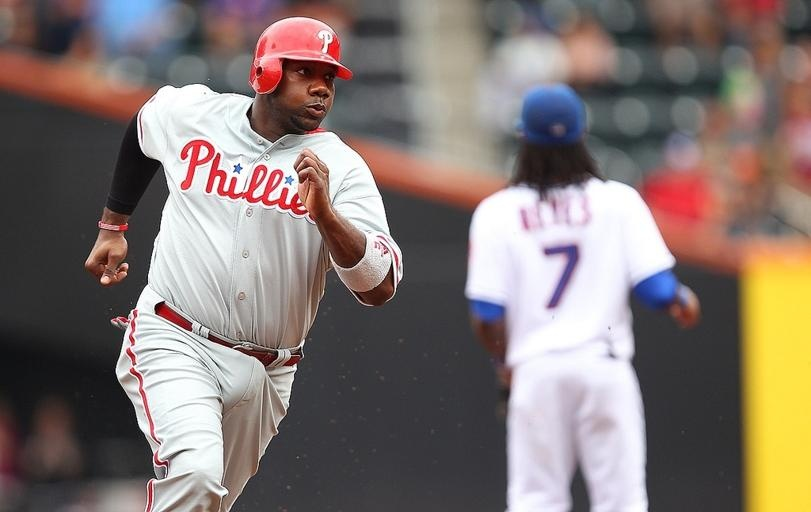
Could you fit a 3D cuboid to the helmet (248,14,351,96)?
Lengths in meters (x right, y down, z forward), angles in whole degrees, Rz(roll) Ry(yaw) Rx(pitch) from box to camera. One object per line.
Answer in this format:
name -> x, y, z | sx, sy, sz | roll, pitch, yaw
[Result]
helmet -> -0.639, -1.117, 6.800 | 0.510, 0.378, 0.410 | 4, -3, 37
